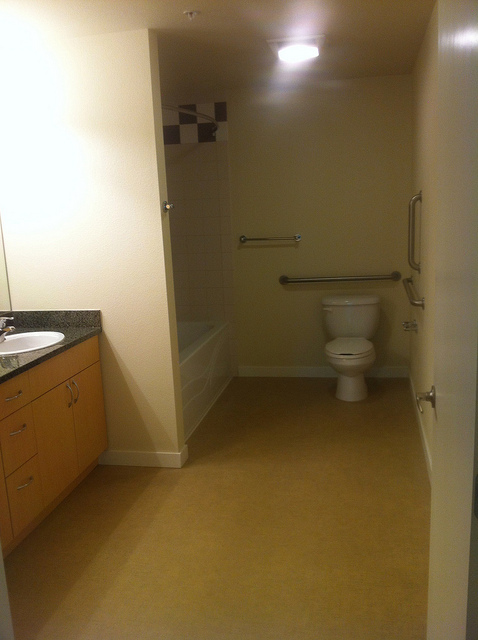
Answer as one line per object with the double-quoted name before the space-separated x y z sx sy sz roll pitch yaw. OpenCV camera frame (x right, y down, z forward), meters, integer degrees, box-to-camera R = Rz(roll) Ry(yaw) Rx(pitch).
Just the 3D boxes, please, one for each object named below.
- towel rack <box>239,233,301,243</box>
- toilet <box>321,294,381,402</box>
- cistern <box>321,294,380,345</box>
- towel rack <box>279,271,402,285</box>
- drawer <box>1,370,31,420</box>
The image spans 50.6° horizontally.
"towel rack" 0.256 -0.671 4.176 0.502 0.062 0.100 -3 9 4
"toilet" 0.856 0.206 3.885 0.431 0.741 0.675 -1 9 15
"cistern" 0.850 -0.011 3.911 0.399 0.289 0.337 1 7 16
"towel rack" 0.808 -0.335 4.122 0.981 0.091 0.074 -1 9 11
"drawer" -0.895 0.294 2.024 0.115 0.110 0.183 2 12 4
